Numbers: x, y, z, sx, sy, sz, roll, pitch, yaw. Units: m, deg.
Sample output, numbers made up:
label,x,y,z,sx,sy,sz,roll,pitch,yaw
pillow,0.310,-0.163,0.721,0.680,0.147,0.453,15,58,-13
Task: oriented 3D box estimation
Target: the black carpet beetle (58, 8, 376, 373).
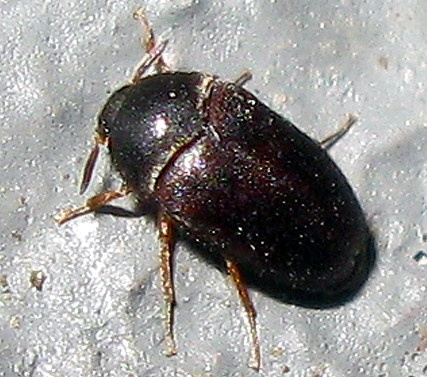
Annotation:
label,x,y,z,sx,sy,sz,roll,pitch,yaw
black carpet beetle,0.052,0.071,2.506,1.205,0.389,0.806,35,87,4
